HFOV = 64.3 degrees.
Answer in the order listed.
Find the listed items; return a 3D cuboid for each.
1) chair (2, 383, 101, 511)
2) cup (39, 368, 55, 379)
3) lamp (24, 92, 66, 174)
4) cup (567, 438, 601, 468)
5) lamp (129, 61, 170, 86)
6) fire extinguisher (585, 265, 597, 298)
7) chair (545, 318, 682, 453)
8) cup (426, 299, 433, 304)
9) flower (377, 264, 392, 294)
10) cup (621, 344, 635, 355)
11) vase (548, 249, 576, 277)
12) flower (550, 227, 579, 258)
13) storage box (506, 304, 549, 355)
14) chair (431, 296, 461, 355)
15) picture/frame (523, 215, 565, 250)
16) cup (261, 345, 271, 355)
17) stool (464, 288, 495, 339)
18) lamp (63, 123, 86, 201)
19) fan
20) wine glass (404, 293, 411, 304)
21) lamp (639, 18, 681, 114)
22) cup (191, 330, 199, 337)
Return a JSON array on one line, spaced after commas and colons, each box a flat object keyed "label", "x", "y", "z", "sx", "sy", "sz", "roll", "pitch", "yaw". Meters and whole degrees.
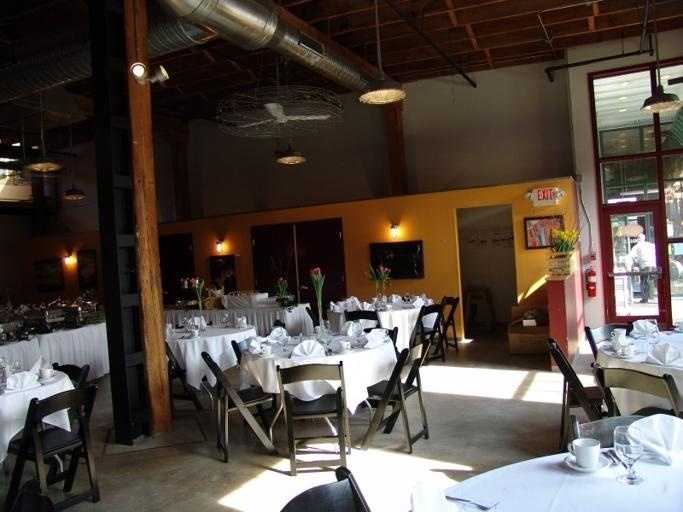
[{"label": "chair", "x": -2.743, "y": 1.784, "z": 5.136, "sx": 0.794, "sy": 1.183, "sz": 0.820, "roll": -6, "pitch": 7, "yaw": -33}, {"label": "cup", "x": -3.084, "y": 1.210, "z": 5.658, "sx": 0.122, "sy": 0.112, "sz": 0.190, "roll": -5, "pitch": 6, "yaw": -23}, {"label": "lamp", "x": -5.545, "y": -2.281, "z": 9.805, "sx": 0.527, "sy": 1.338, "sz": 0.550, "roll": -12, "pitch": 17, "yaw": 1}, {"label": "cup", "x": 1.492, "y": 1.188, "z": 3.322, "sx": 0.133, "sy": 0.137, "sz": 0.172, "roll": -1, "pitch": -4, "yaw": -5}, {"label": "lamp", "x": -2.381, "y": -2.259, "z": 6.769, "sx": 0.332, "sy": 0.405, "sz": 0.642, "roll": -26, "pitch": 22, "yaw": -12}, {"label": "fire extinguisher", "x": 4.959, "y": 0.524, "z": 10.740, "sx": 0.203, "sy": 0.614, "sz": 0.384, "roll": 1, "pitch": 6, "yaw": 31}, {"label": "chair", "x": 2.499, "y": 1.411, "z": 5.179, "sx": 0.859, "sy": 1.114, "sz": 1.723, "roll": -2, "pitch": 6, "yaw": 6}, {"label": "cup", "x": 1.613, "y": 0.855, "z": 9.909, "sx": 0.124, "sy": 0.077, "sz": 0.184, "roll": 1, "pitch": 6, "yaw": 14}, {"label": "flower", "x": 0.925, "y": 0.529, "z": 11.474, "sx": 0.284, "sy": 0.649, "sz": 0.694, "roll": -2, "pitch": 6, "yaw": 4}, {"label": "cup", "x": 2.851, "y": 0.925, "z": 5.383, "sx": 0.106, "sy": 0.085, "sz": 0.091, "roll": -5, "pitch": -4, "yaw": 19}, {"label": "vase", "x": 3.551, "y": 0.106, "z": 8.725, "sx": 0.398, "sy": 0.420, "sz": 0.415, "roll": 0, "pitch": 1, "yaw": 19}, {"label": "flower", "x": 3.745, "y": -0.220, "z": 9.104, "sx": 0.435, "sy": 0.538, "sz": 0.435, "roll": 10, "pitch": 2, "yaw": -27}, {"label": "storage box", "x": 3.371, "y": 1.243, "z": 9.560, "sx": 0.825, "sy": 0.621, "sz": 0.854, "roll": -3, "pitch": 7, "yaw": 24}, {"label": "chair", "x": 1.838, "y": 1.284, "z": 9.998, "sx": 0.764, "sy": 0.975, "sz": 0.752, "roll": -5, "pitch": 1, "yaw": 19}, {"label": "picture/frame", "x": 3.809, "y": -0.442, "z": 10.076, "sx": 0.631, "sy": 0.634, "sz": 0.067, "roll": 0, "pitch": -2, "yaw": 29}, {"label": "cup", "x": -0.851, "y": 1.066, "z": 6.161, "sx": 0.091, "sy": 0.068, "sz": 0.062, "roll": -3, "pitch": -3, "yaw": 29}, {"label": "stool", "x": 3.110, "y": 1.171, "z": 12.117, "sx": 0.693, "sy": 0.869, "sz": 0.880, "roll": -1, "pitch": 6, "yaw": 13}, {"label": "lamp", "x": -7.243, "y": -2.539, "z": 14.631, "sx": 0.470, "sy": 2.109, "sz": 3.350, "roll": -5, "pitch": 6, "yaw": -26}, {"label": "fan", "x": -1.254, "y": -3.224, "z": 10.945, "sx": 1.834, "sy": 1.268, "sz": 1.909, "roll": 4, "pitch": 10, "yaw": 31}, {"label": "wine glass", "x": 1.220, "y": 0.803, "z": 9.972, "sx": 0.113, "sy": 0.089, "sz": 0.117, "roll": 8, "pitch": 15, "yaw": 32}, {"label": "lamp", "x": 5.328, "y": -3.251, "z": 9.033, "sx": 0.485, "sy": 1.927, "sz": 3.532, "roll": 1, "pitch": 7, "yaw": 30}, {"label": "cup", "x": -2.017, "y": 1.070, "z": 7.494, "sx": 0.074, "sy": 0.077, "sz": 0.077, "roll": 0, "pitch": 1, "yaw": 0}]
